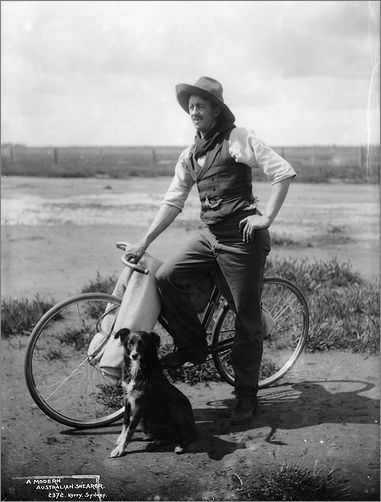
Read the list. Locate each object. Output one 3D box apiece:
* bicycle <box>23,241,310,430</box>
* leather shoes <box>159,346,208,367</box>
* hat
[{"bbox_3d":[-0.048,0.573,5.121,2.197,1.169,0.797,4,4,-25],"label":"bicycle"},{"bbox_3d":[-0.039,0.592,4.453,0.289,0.134,0.098,-2,4,-24],"label":"leather shoes"},{"bbox_3d":[0.069,-0.859,4.393,0.333,0.271,0.316,-1,3,6],"label":"hat"}]
